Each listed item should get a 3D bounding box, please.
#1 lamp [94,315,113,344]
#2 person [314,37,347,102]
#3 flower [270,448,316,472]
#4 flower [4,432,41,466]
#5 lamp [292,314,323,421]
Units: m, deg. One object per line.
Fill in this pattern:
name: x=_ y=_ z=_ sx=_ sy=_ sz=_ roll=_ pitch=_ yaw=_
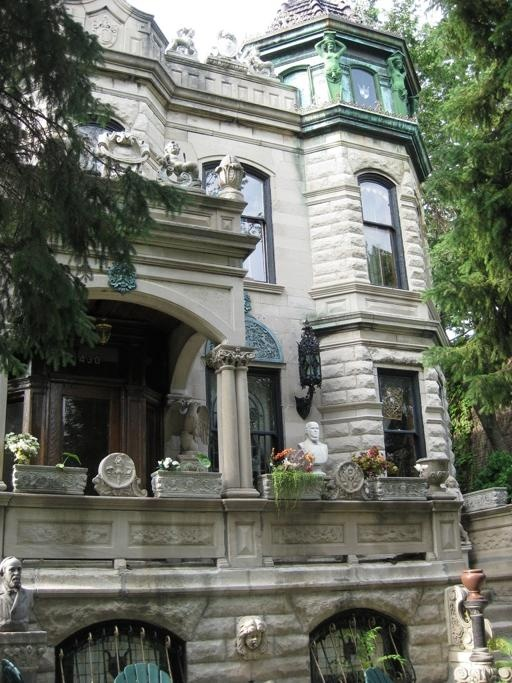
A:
lamp: x=-2.226 y=-0.172 z=12.360 sx=0.233 sy=0.352 sz=0.504 roll=0 pitch=-18 yaw=-9
person: x=1.470 y=-5.162 z=15.972 sx=0.559 sy=1.529 sz=0.398 roll=-3 pitch=-19 yaw=-2
flower: x=0.489 y=1.493 z=10.639 sx=0.594 sy=0.290 sz=0.464 roll=3 pitch=-16 yaw=2
flower: x=-2.579 y=1.187 z=9.376 sx=0.314 sy=0.441 sz=0.557 roll=7 pitch=-20 yaw=-27
lamp: x=0.852 y=0.437 z=13.948 sx=0.377 sy=1.655 sz=0.495 roll=2 pitch=-20 yaw=-14
